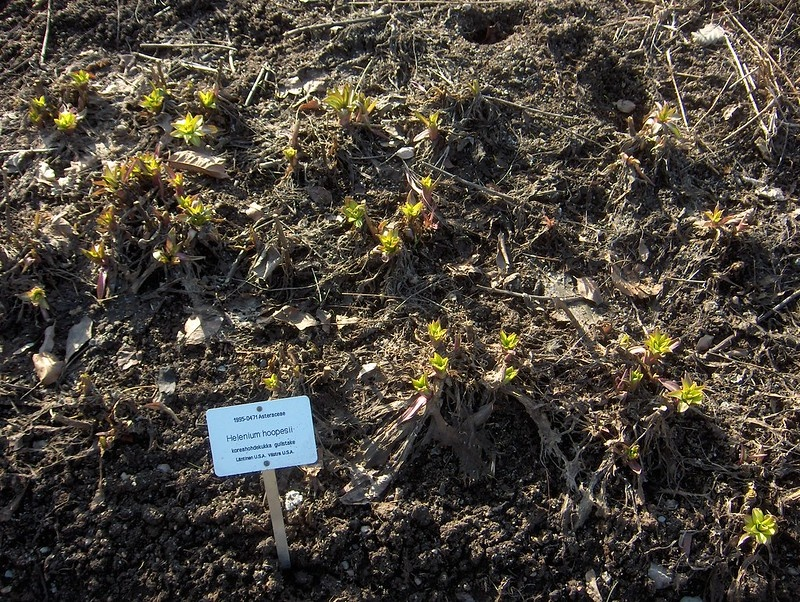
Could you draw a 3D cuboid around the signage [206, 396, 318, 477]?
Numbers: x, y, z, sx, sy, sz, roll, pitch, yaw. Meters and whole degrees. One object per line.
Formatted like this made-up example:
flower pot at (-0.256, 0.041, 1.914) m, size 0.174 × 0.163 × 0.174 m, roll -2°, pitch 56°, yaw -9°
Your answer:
signage at (-0.684, 0.686, 3.420) m, size 0.384 × 0.309 × 0.016 m, roll -8°, pitch 8°, yaw 0°
